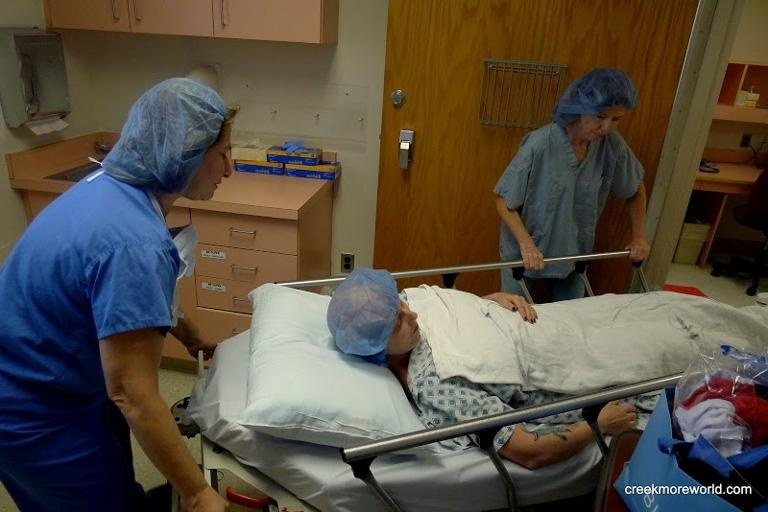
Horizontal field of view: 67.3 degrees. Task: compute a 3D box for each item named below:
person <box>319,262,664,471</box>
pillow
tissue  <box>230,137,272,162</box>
[{"bbox_3d":[0.509,0.379,2.640,1.395,0.640,1.239,-6,21,-16],"label":"person"},{"bbox_3d":[-0.204,0.423,2.118,0.530,0.142,0.579,10,35,-13],"label":"pillow"},{"bbox_3d":[-0.870,-0.695,3.755,0.247,0.114,0.271,2,21,-4],"label":"tissue "}]
